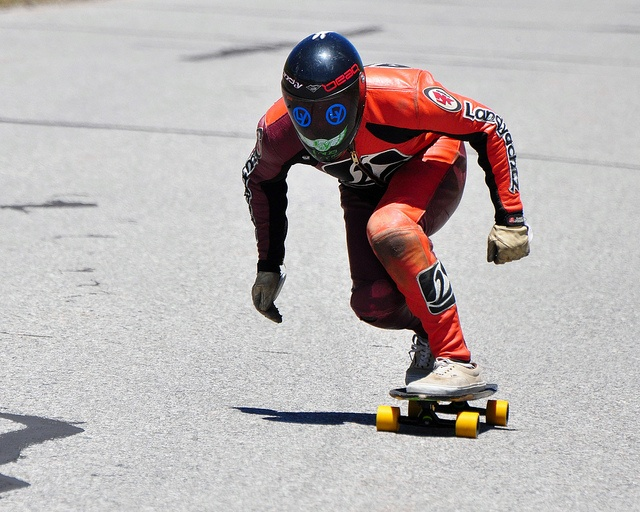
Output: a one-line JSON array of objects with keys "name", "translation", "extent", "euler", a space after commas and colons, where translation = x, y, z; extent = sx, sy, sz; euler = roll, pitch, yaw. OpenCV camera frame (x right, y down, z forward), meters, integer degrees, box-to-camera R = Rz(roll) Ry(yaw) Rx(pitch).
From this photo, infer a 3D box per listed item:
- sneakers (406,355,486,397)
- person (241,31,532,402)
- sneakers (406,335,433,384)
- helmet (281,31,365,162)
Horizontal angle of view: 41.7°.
[{"name": "sneakers", "translation": [0.576, 0.543, 3.814], "extent": [0.239, 0.127, 0.435], "euler": [2, 2, 42]}, {"name": "person", "translation": [0.344, -0.250, 3.949], "extent": [1.147, 1.312, 1.411], "euler": [-34, 55, -30]}, {"name": "sneakers", "translation": [0.477, 0.496, 4.083], "extent": [0.115, 0.098, 0.249], "euler": [-15, 31, 19]}, {"name": "helmet", "translation": [-0.002, -0.736, 3.860], "extent": [0.465, 0.474, 0.478], "euler": [-4, 41, 3]}]
